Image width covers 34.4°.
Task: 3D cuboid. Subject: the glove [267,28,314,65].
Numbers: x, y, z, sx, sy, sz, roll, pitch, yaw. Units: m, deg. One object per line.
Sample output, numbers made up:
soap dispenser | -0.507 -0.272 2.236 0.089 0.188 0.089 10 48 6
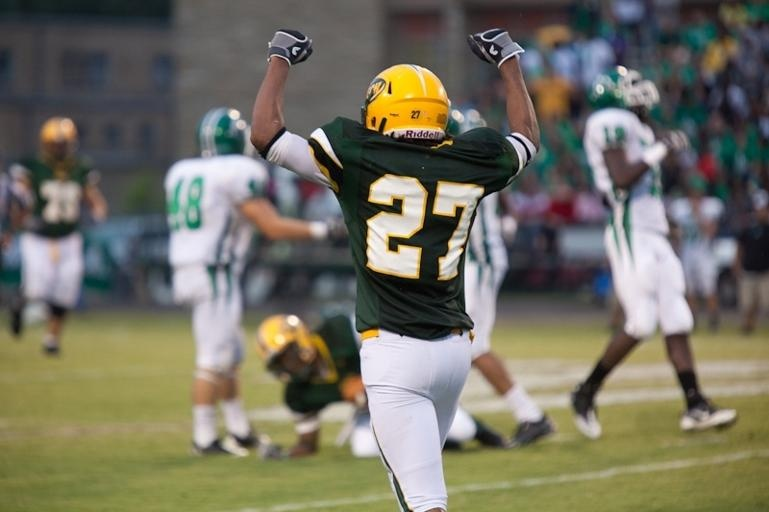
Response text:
glove | -0.756 -1.652 9.836 0.314 0.259 0.150 1 -14 -9

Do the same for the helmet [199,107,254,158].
helmet | -1.553 -1.208 11.866 0.400 0.521 0.516 3 9 41

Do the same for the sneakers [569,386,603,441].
sneakers | 1.859 1.451 11.479 0.230 0.425 0.161 7 -33 -29

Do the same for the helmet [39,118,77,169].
helmet | -4.265 -1.481 16.254 0.485 0.675 0.367 0 6 -15

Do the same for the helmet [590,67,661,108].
helmet | 2.320 -1.648 12.030 0.550 0.371 0.385 -2 10 10
